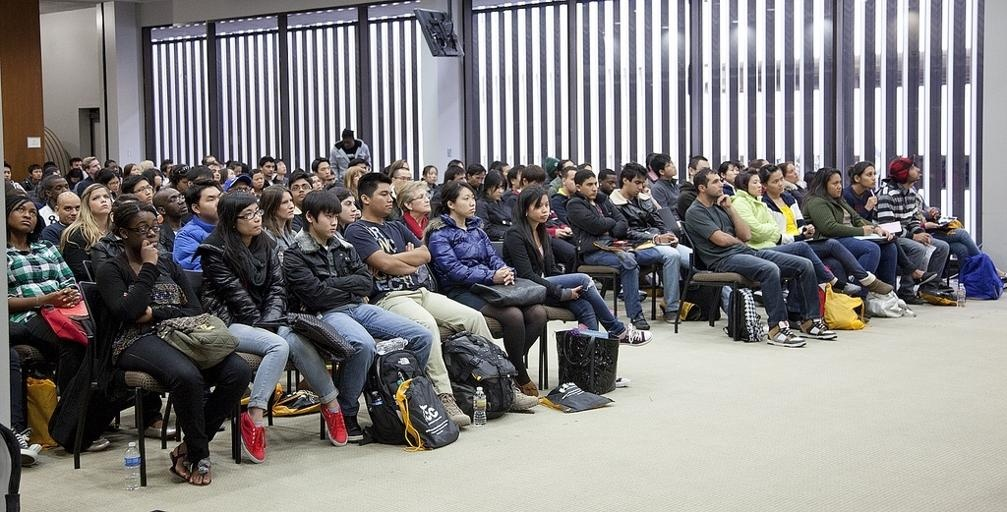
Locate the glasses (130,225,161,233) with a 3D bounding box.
[{"bbox_3d":[-2.823,-0.209,5.553,0.198,0.052,0.117,-7,4,-37],"label":"glasses"}]

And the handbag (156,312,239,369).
[{"bbox_3d":[-2.413,0.636,5.476,0.648,0.219,0.669,19,13,27],"label":"handbag"}]

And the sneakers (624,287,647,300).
[{"bbox_3d":[1.629,0.462,8.745,0.251,0.089,0.264,2,-6,-31],"label":"sneakers"}]

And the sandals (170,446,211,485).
[{"bbox_3d":[-2.437,1.607,5.495,0.166,0.176,0.474,-4,6,-41],"label":"sandals"}]

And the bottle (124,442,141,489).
[{"bbox_3d":[-2.806,1.581,5.352,0.117,0.337,0.131,-8,4,-39],"label":"bottle"}]

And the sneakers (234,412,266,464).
[{"bbox_3d":[-2.006,1.433,5.655,0.171,0.347,0.177,-7,4,-21],"label":"sneakers"}]

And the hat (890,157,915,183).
[{"bbox_3d":[5.373,-1.189,9.660,0.360,0.338,0.271,8,10,0],"label":"hat"}]

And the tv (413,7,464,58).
[{"bbox_3d":[-1.080,-3.855,12.164,0.331,0.537,0.810,-4,4,31],"label":"tv"}]

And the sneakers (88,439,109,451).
[{"bbox_3d":[-3.318,1.554,5.796,0.173,0.070,0.061,-4,8,-21],"label":"sneakers"}]

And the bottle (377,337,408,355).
[{"bbox_3d":[-0.934,0.754,5.931,0.205,0.067,0.120,-10,11,-19],"label":"bottle"}]

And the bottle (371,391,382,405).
[{"bbox_3d":[-1.034,1.180,5.887,0.094,0.091,0.090,-3,0,7],"label":"bottle"}]

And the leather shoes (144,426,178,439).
[{"bbox_3d":[-2.911,1.492,5.979,0.317,0.105,0.110,-2,-1,9],"label":"leather shoes"}]

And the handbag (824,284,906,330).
[{"bbox_3d":[4.358,0.581,8.579,0.989,0.392,0.545,-8,12,-15],"label":"handbag"}]

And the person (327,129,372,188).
[{"bbox_3d":[-2.668,-1.678,12.370,0.766,0.972,0.593,-2,12,-15],"label":"person"}]

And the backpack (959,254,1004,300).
[{"bbox_3d":[6.505,0.307,9.741,0.734,0.680,0.457,16,-15,-27],"label":"backpack"}]

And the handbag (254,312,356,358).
[{"bbox_3d":[-1.559,0.637,5.750,0.492,0.168,0.487,8,-7,36],"label":"handbag"}]

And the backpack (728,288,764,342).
[{"bbox_3d":[2.793,0.684,8.171,0.398,0.523,0.566,2,3,30],"label":"backpack"}]

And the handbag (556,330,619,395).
[{"bbox_3d":[0.670,1.014,6.728,0.629,0.500,0.413,6,-12,-16],"label":"handbag"}]
